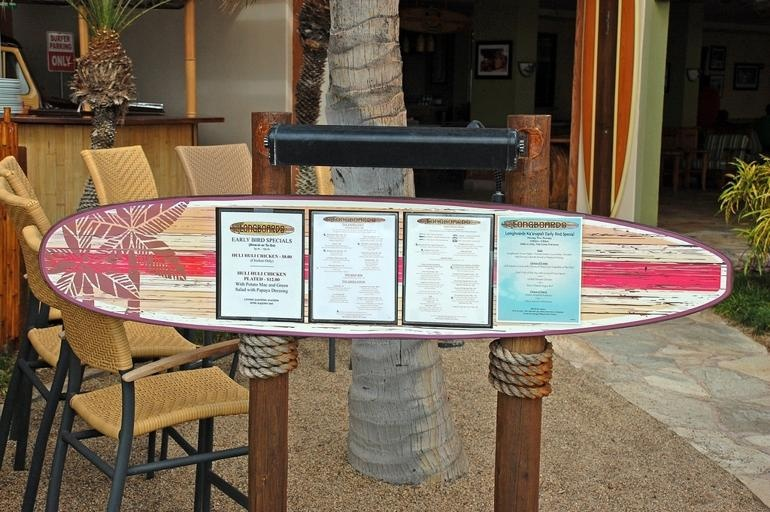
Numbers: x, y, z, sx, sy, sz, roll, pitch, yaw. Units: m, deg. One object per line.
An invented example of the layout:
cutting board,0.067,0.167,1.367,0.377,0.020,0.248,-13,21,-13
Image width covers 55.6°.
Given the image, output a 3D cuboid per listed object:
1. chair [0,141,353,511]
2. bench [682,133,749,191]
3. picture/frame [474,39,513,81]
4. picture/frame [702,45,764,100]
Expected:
chair,-1.259,0.424,3.451,0.956,1.692,1.513,-8,16,-24
bench,6.056,-1.699,13.240,1.376,1.032,1.105,-2,15,-2
picture/frame,1.854,-3.329,12.294,0.659,0.669,0.050,7,11,33
picture/frame,8.072,-4.339,16.940,1.664,1.084,0.120,-5,15,-14
